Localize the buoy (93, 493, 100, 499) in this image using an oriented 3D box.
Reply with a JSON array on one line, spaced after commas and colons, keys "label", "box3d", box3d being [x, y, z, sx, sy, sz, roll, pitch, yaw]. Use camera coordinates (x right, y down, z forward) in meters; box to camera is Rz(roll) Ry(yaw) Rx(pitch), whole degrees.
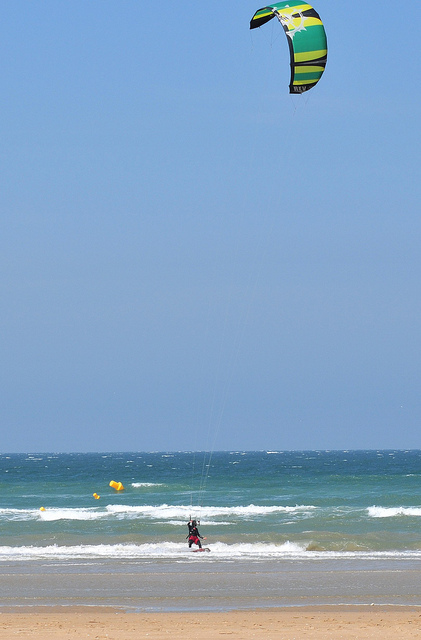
[{"label": "buoy", "box3d": [-4.866, 7.569, 55.887, 0.202, 0.201, 0.290, -43, -87, 3]}]
